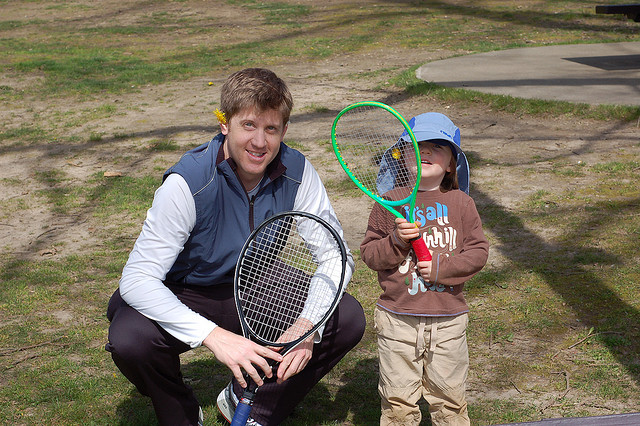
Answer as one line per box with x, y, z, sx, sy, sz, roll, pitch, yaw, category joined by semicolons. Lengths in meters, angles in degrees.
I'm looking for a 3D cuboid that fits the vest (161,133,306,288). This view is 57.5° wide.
-0.718;0.027;4.685;1.354;1.107;0.667;2;13;-45;vest

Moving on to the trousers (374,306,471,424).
0.745;1.194;4.332;0.661;0.952;0.469;-1;27;3;trousers

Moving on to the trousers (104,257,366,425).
-0.645;1.031;4.489;1.867;1.223;0.719;-7;27;-10;trousers

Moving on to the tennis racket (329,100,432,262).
0.525;-0.393;4.777;0.518;0.153;1.710;-32;60;11;tennis racket
